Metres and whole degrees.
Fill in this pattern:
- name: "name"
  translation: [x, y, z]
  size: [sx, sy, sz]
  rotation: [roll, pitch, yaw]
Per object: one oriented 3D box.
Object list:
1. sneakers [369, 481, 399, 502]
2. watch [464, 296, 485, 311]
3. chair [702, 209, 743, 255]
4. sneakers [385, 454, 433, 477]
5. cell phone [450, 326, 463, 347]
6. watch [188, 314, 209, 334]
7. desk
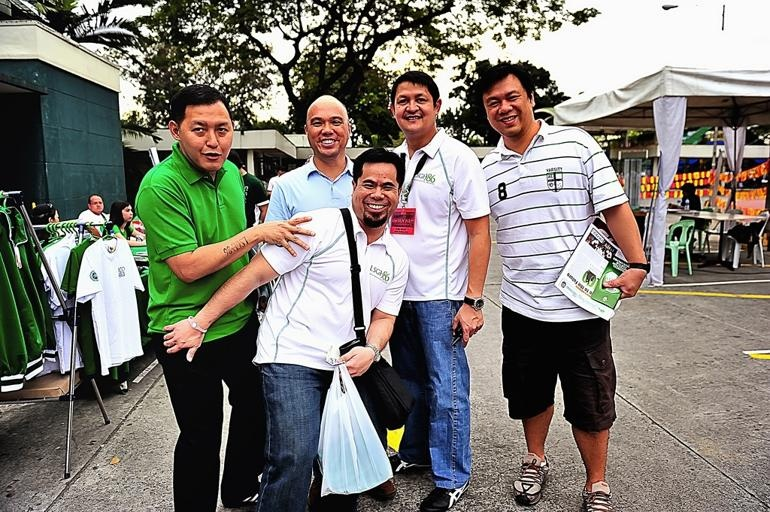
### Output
- name: "sneakers"
  translation: [-0.008, 1.840, 4.193]
  size: [0.287, 0.117, 0.102]
  rotation: [0, -2, -3]
- name: "watch"
  translation: [0.676, 0.359, 4.074]
  size: [0.113, 0.064, 0.113]
  rotation: [0, -12, 38]
- name: "chair"
  translation: [7.416, -0.539, 11.834]
  size: [0.771, 0.898, 0.850]
  rotation: [-13, 23, -13]
- name: "sneakers"
  translation: [0.185, 1.718, 4.510]
  size: [0.468, 0.193, 0.156]
  rotation: [-2, 2, -6]
- name: "cell phone"
  translation: [0.533, 0.607, 4.125]
  size: [0.078, 0.181, 0.057]
  rotation: [-1, 14, -36]
- name: "watch"
  translation: [-1.250, 0.453, 3.605]
  size: [0.117, 0.046, 0.102]
  rotation: [26, -28, 4]
- name: "desk"
  translation: [7.089, -0.311, 11.448]
  size: [0.716, 0.608, 1.287]
  rotation: [-5, 12, -14]
